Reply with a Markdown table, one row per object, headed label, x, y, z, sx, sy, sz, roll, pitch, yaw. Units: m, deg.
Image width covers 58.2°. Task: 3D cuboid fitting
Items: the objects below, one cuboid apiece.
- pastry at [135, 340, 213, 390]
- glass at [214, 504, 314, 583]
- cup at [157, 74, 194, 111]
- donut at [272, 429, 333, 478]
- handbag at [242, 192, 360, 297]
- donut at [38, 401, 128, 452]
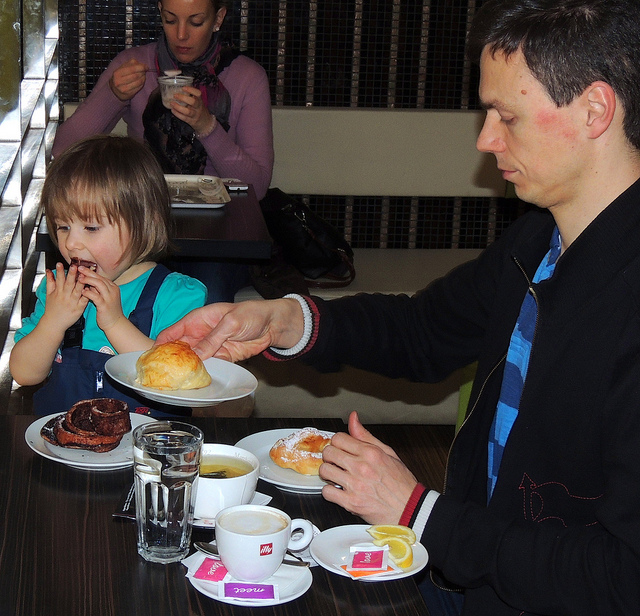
| label | x | y | z | sx | sy | sz | roll | pitch | yaw |
| --- | --- | --- | --- | --- | --- | --- | --- | --- | --- |
| pastry | -0.280 | 0.106 | 1.046 | 0.143 | 0.063 | 0.139 | 10 | 11 | 28 |
| glass | -0.071 | 0.259 | 0.694 | 0.120 | 0.067 | 0.100 | 14 | 19 | 42 |
| cup | -0.631 | -0.949 | 2.526 | 0.137 | 0.120 | 0.149 | 0 | 22 | 0 |
| donut | -0.030 | 0.248 | 1.004 | 0.079 | 0.028 | 0.083 | -3 | 24 | -10 |
| handbag | -0.099 | -0.309 | 2.871 | 0.361 | 0.686 | 0.229 | 1 | 21 | 1 |
| donut | -0.384 | 0.184 | 0.931 | 0.100 | 0.040 | 0.084 | 8 | 23 | -3 |
